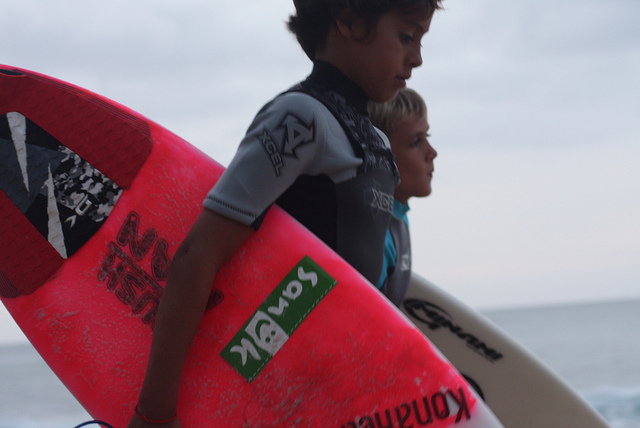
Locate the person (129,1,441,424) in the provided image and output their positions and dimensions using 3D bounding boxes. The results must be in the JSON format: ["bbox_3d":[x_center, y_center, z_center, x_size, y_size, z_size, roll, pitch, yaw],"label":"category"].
[{"bbox_3d":[-0.058,0.082,3.754,1.055,2.577,1.280,0,-3,5],"label":"person"}]
